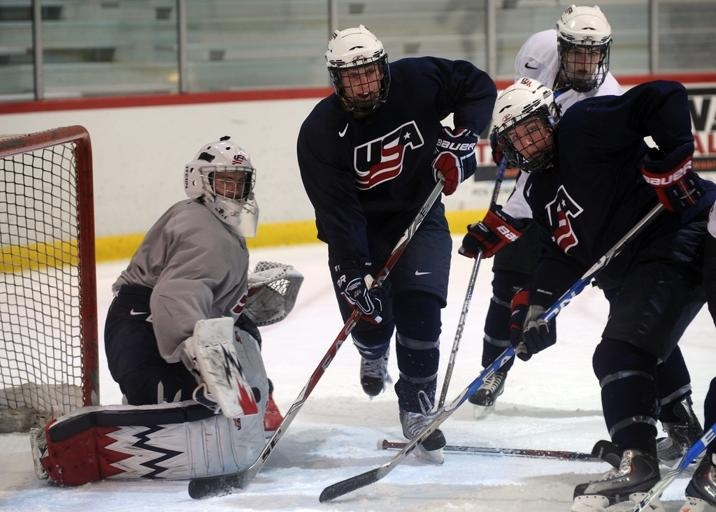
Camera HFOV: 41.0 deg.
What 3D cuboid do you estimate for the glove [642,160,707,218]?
[{"bbox_3d":[1.246,-0.290,3.890,0.238,0.222,0.188,-24,26,25],"label":"glove"}]

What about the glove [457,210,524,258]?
[{"bbox_3d":[0.611,-0.096,4.422,0.296,0.119,0.177,-32,35,10],"label":"glove"}]

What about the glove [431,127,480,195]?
[{"bbox_3d":[0.437,-0.441,4.362,0.221,0.306,0.115,1,-6,7],"label":"glove"}]

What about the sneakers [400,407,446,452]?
[{"bbox_3d":[0.281,0.766,4.221,0.095,0.108,0.248,0,35,-19],"label":"sneakers"}]

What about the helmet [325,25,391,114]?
[{"bbox_3d":[-0.056,-0.843,4.291,0.298,0.354,0.361,-19,33,2],"label":"helmet"}]

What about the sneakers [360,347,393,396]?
[{"bbox_3d":[0.093,0.587,4.843,0.104,0.289,0.128,1,7,8],"label":"sneakers"}]

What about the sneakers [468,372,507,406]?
[{"bbox_3d":[0.635,0.657,4.700,0.092,0.096,0.260,22,21,16],"label":"sneakers"}]

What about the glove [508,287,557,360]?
[{"bbox_3d":[0.725,0.286,4.107,0.133,0.221,0.283,36,8,-25],"label":"glove"}]

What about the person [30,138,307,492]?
[{"bbox_3d":[-0.840,0.180,4.175,0.904,1.370,1.063,0,10,1],"label":"person"}]
